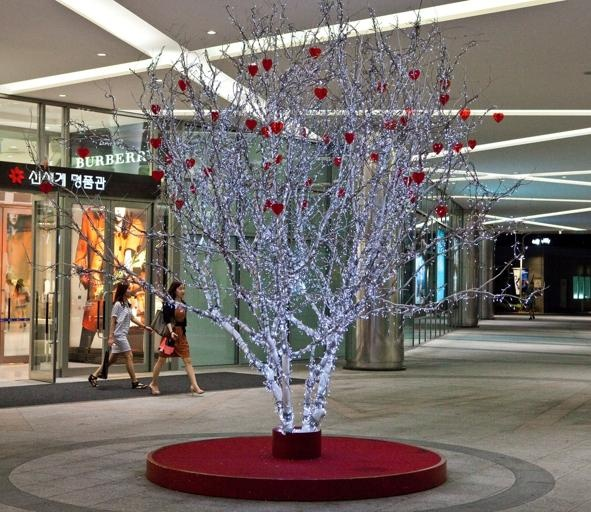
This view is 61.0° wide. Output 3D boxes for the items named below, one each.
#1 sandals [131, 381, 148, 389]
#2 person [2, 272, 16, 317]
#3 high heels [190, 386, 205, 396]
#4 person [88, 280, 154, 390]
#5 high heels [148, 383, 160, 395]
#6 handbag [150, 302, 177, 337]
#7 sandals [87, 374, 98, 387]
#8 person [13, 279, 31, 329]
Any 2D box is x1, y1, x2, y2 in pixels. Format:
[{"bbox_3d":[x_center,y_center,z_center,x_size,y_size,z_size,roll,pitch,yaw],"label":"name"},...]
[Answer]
[{"bbox_3d":[-3.227,2.655,10.366,0.407,0.197,0.145,-1,-2,5],"label":"sandals"},{"bbox_3d":[-8.551,1.135,15.128,0.313,1.338,0.204,4,-5,-39],"label":"person"},{"bbox_3d":[-1.937,2.607,9.774,0.130,0.209,0.387,1,-9,-41],"label":"high heels"},{"bbox_3d":[-3.508,1.608,10.327,0.769,2.227,1.271,4,-5,-41],"label":"person"},{"bbox_3d":[-2.741,2.613,9.861,0.129,0.164,0.388,4,-6,-24],"label":"high heels"},{"bbox_3d":[-2.427,1.181,9.399,0.520,0.588,0.319,-1,-4,23],"label":"handbag"},{"bbox_3d":[-4.235,2.621,10.600,0.200,0.321,0.100,-13,11,-1],"label":"sandals"},{"bbox_3d":[-8.274,1.399,15.266,0.486,1.503,0.210,4,-5,-35],"label":"person"}]
